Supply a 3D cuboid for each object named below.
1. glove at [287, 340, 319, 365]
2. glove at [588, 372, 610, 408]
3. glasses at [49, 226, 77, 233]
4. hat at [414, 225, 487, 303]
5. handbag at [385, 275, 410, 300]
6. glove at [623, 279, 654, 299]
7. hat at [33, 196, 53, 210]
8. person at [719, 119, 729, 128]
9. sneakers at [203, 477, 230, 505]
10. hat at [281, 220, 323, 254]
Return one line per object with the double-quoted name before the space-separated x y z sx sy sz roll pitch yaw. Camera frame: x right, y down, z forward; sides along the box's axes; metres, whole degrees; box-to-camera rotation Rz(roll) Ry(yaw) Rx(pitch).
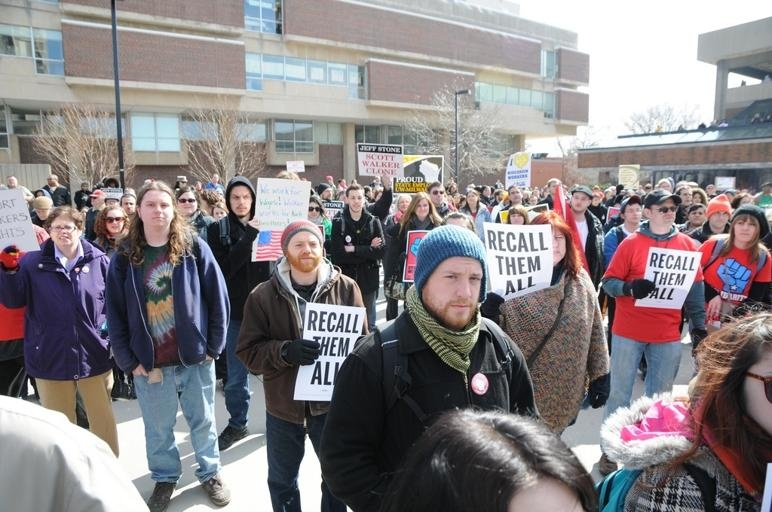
"glove" -0.755 0.889 5.418 0.310 0.253 0.172 -2 10 -8
"glove" 2.086 1.323 5.778 0.228 0.329 0.096 22 13 35
"glasses" -3.511 -0.297 6.479 0.261 0.072 0.108 -4 11 -19
"hat" 0.481 0.049 4.583 0.449 0.493 0.534 2 -6 -8
"handbag" 0.212 0.505 9.203 0.310 0.435 0.429 4 -4 -42
"glove" 2.828 0.371 6.640 0.313 0.240 0.201 3 11 20
"hat" -5.394 -0.835 9.389 0.249 0.139 0.340 5 -5 -23
"person" 22.300 -8.777 39.318 0.514 0.471 2.180 5 11 28
"sneakers" -1.753 2.478 6.239 0.341 0.157 0.170 28 40 35
"hat" -0.829 -0.237 5.849 0.338 0.351 0.271 -7 54 -28
